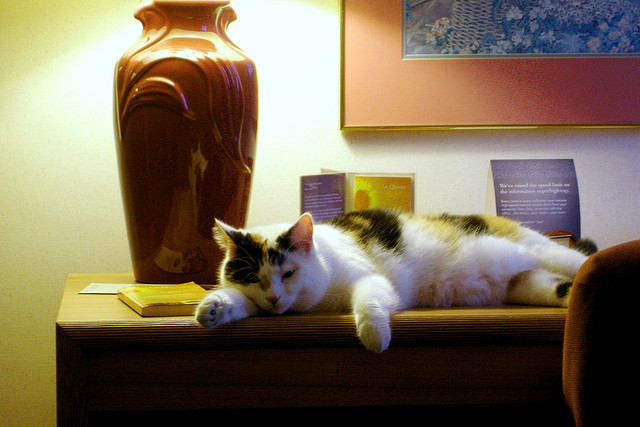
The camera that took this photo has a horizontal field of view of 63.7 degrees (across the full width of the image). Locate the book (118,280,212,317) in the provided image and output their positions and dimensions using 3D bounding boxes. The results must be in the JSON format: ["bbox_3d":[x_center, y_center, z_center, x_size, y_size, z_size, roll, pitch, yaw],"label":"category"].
[{"bbox_3d":[-0.321,0.185,1.123,0.136,0.027,0.130,0,13,-26],"label":"book"}]

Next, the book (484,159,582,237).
[{"bbox_3d":[0.634,-0.054,1.528,0.234,0.209,0.122,-1,-1,15],"label":"book"}]

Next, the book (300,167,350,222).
[{"bbox_3d":[0.014,-0.052,1.498,0.152,0.168,0.130,-10,-6,41],"label":"book"}]

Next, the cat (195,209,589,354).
[{"bbox_3d":[0.135,0.115,1.164,0.746,0.182,0.370,1,-11,-25],"label":"cat"}]
